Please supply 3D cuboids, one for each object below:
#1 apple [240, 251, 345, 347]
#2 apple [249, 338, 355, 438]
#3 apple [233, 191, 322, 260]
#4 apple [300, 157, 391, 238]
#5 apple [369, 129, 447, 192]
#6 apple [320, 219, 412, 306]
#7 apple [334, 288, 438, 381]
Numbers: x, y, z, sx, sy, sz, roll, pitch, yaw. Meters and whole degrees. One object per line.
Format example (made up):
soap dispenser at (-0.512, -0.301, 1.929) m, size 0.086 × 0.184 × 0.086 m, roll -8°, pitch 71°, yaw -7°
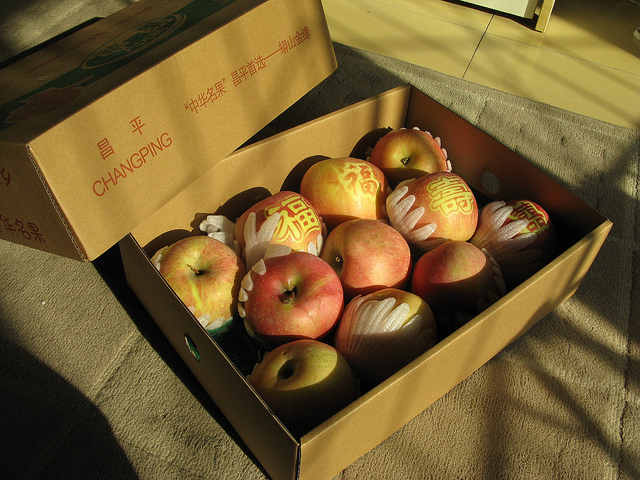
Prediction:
apple at (-0.036, 0.095, 0.779) m, size 0.121 × 0.131 × 0.139 m, roll -1°, pitch 48°, yaw 18°
apple at (-0.023, 0.184, 0.656) m, size 0.130 × 0.056 × 0.117 m, roll -22°, pitch 58°, yaw -17°
apple at (-0.073, -0.067, 0.808) m, size 0.104 × 0.115 × 0.115 m, roll -23°, pitch 28°, yaw 2°
apple at (0.049, -0.090, 0.927) m, size 0.146 × 0.129 × 0.149 m, roll -35°, pitch 50°, yaw -29°
apple at (0.164, -0.157, 0.920) m, size 0.110 × 0.121 × 0.128 m, roll 3°, pitch 67°, yaw 11°
apple at (0.073, 0.010, 0.811) m, size 0.130 × 0.137 × 0.141 m, roll 1°, pitch 62°, yaw 17°
apple at (0.093, 0.141, 0.762) m, size 0.118 × 0.132 × 0.122 m, roll -30°, pitch 45°, yaw -35°
